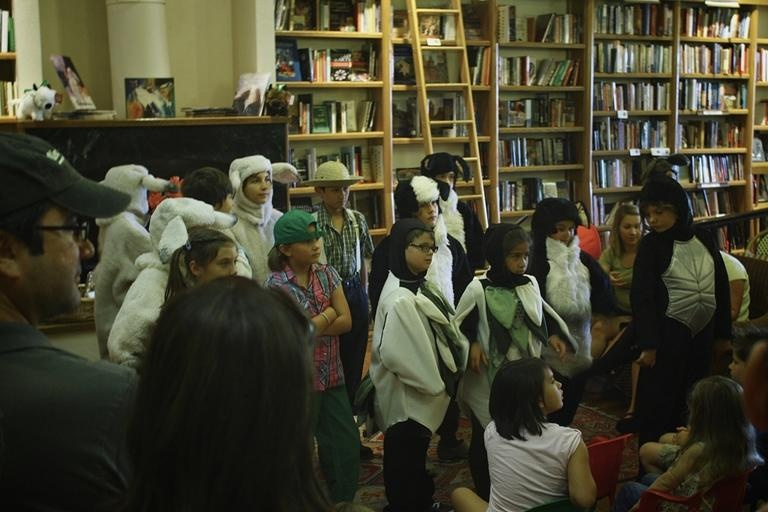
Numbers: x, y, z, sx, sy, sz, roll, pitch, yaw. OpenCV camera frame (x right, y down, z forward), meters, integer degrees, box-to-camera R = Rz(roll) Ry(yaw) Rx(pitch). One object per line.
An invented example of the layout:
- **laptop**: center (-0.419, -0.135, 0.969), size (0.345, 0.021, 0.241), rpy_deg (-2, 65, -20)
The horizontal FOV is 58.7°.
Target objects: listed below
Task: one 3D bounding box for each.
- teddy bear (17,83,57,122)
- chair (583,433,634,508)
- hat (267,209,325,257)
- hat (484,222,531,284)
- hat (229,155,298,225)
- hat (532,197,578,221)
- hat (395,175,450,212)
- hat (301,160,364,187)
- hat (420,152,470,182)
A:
- **teddy bear**: center (-2.735, -1.205, 5.315), size (0.541, 0.292, 0.203), rpy_deg (17, 17, 36)
- **chair**: center (0.988, 0.997, 3.127), size (0.247, 0.319, 0.264), rpy_deg (-5, -11, 15)
- **hat**: center (-0.472, -0.152, 3.535), size (0.264, 0.169, 0.195), rpy_deg (-2, 5, 35)
- **hat**: center (0.657, -0.007, 3.752), size (0.262, 0.335, 0.253), rpy_deg (4, -4, -37)
- **hat**: center (-0.728, -0.391, 4.168), size (0.442, 0.451, 0.409), rpy_deg (-7, 9, -12)
- **hat**: center (1.019, -0.271, 4.054), size (0.148, 0.129, 0.193), rpy_deg (5, -1, -35)
- **hat**: center (0.251, -0.455, 4.632), size (0.291, 0.268, 0.316), rpy_deg (-20, 32, -34)
- **hat**: center (-0.445, -0.662, 5.451), size (0.443, 0.170, 0.486), rpy_deg (-2, 2, 3)
- **hat**: center (0.417, -0.661, 5.071), size (0.286, 0.151, 0.293), rpy_deg (1, 18, -7)
